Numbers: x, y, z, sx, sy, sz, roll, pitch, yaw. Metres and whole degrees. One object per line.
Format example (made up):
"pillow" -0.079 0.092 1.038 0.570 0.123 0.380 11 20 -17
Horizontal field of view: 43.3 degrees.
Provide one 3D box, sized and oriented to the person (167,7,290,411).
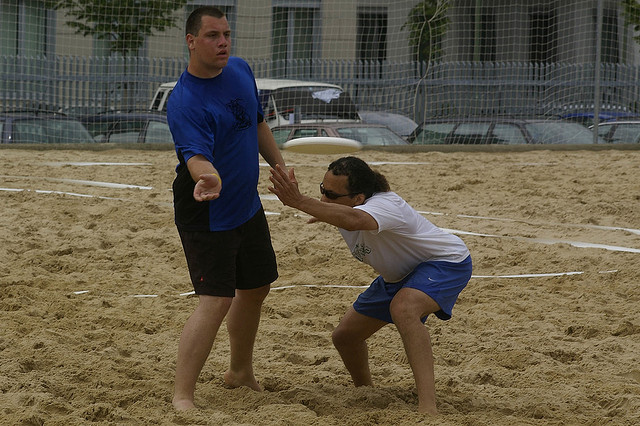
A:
"person" -1.003 -0.077 7.415 0.605 3.580 1.031 8 10 44
